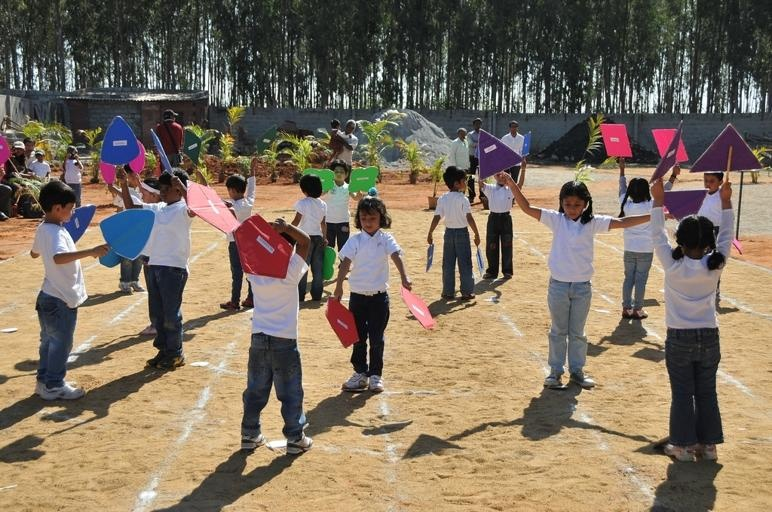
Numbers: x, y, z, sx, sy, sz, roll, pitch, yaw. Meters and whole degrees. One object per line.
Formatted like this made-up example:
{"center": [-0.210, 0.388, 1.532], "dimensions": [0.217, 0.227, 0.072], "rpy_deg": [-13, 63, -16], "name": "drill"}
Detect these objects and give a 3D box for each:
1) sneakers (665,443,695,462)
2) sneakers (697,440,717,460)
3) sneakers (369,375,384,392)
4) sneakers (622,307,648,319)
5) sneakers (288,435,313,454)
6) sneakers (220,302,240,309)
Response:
{"center": [4.713, 3.137, 15.640], "dimensions": [0.440, 0.203, 0.224], "rpy_deg": [12, 21, 21], "name": "sneakers"}
{"center": [5.156, 3.140, 15.650], "dimensions": [0.166, 0.204, 0.434], "rpy_deg": [-3, 14, -2], "name": "sneakers"}
{"center": [-0.182, 2.216, 16.923], "dimensions": [0.229, 0.253, 0.554], "rpy_deg": [0, -6, -4], "name": "sneakers"}
{"center": [4.942, 1.139, 19.318], "dimensions": [0.390, 0.167, 0.207], "rpy_deg": [-1, 21, -3], "name": "sneakers"}
{"center": [-1.388, 3.051, 15.629], "dimensions": [0.185, 0.233, 0.482], "rpy_deg": [7, 12, 36], "name": "sneakers"}
{"center": [-3.107, 0.993, 19.410], "dimensions": [0.383, 0.171, 0.143], "rpy_deg": [5, 8, 4], "name": "sneakers"}
